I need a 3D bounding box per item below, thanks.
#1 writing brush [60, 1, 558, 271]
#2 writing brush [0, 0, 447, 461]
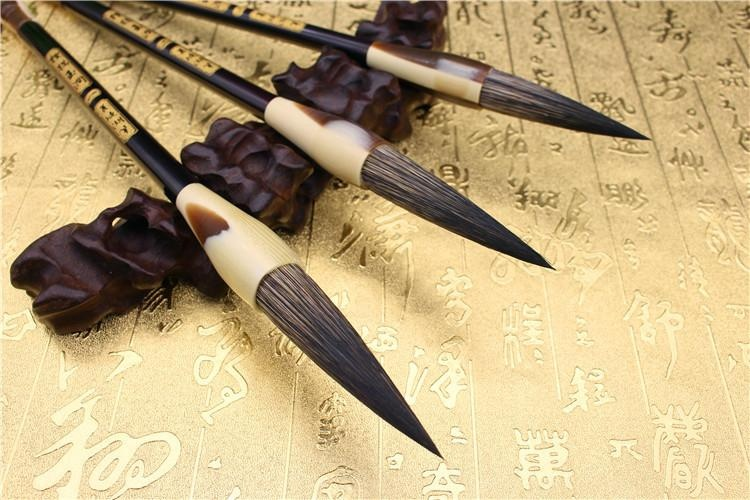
[{"bbox_3d":[-0.101,-0.159,1.242,0.781,0.061,0.085,29,27,13],"label":"writing brush"},{"bbox_3d":[-0.214,-0.005,1.186,0.930,0.097,0.103,41,56,12],"label":"writing brush"}]
